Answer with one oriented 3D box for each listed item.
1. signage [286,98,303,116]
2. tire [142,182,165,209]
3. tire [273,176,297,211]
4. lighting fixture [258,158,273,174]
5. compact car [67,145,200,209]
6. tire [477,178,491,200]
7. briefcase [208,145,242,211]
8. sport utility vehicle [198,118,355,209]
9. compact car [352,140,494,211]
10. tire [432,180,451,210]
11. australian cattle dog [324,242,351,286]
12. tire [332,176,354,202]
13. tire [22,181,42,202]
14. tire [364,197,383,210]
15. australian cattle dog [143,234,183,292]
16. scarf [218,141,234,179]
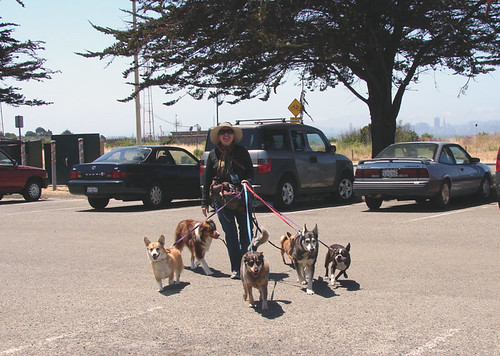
[{"bbox_3d":[1.900,-2.916,20.340,0.401,0.729,0.789,-1,5,-7],"label":"signage"},{"bbox_3d":[-3.147,0.552,15.798,0.208,0.760,0.688,5,9,29],"label":"tire"},{"bbox_3d":[1.093,0.483,15.081,0.790,0.894,0.259,-2,3,-41],"label":"tire"},{"bbox_3d":[0.420,-0.355,14.285,0.433,0.407,0.679,0,0,11],"label":"lighting fixture"},{"bbox_3d":[-3.322,-0.056,16.416,1.895,1.636,4.355,0,4,33],"label":"compact car"},{"bbox_3d":[7.913,0.356,16.510,0.172,0.611,0.551,1,19,45],"label":"tire"},{"bbox_3d":[-0.393,-0.022,8.266,0.581,1.107,0.396,0,-8,38],"label":"briefcase"},{"bbox_3d":[1.265,-0.343,16.841,5.330,3.192,2.709,-6,2,-45],"label":"sport utility vehicle"},{"bbox_3d":[5.429,-0.150,15.195,4.556,1.956,1.916,-5,7,-36],"label":"compact car"},{"bbox_3d":[5.621,0.464,14.359,0.219,0.711,0.640,-5,-18,42],"label":"tire"},{"bbox_3d":[1.445,1.386,8.050,0.395,0.591,0.627,0,5,5],"label":"australian cattle dog"},{"bbox_3d":[3.310,0.373,17.131,0.791,0.922,0.281,-2,5,-25],"label":"tire"},{"bbox_3d":[-8.693,0.525,19.373,0.219,0.816,0.739,1,2,26],"label":"tire"},{"bbox_3d":[3.871,0.786,15.239,0.426,0.488,0.405,5,-6,-40],"label":"tire"},{"bbox_3d":[-1.368,1.291,7.718,0.352,0.841,0.710,2,6,23],"label":"australian cattle dog"},{"bbox_3d":[-0.423,-0.316,8.320,0.242,0.703,0.206,-2,39,-3],"label":"scarf"}]
